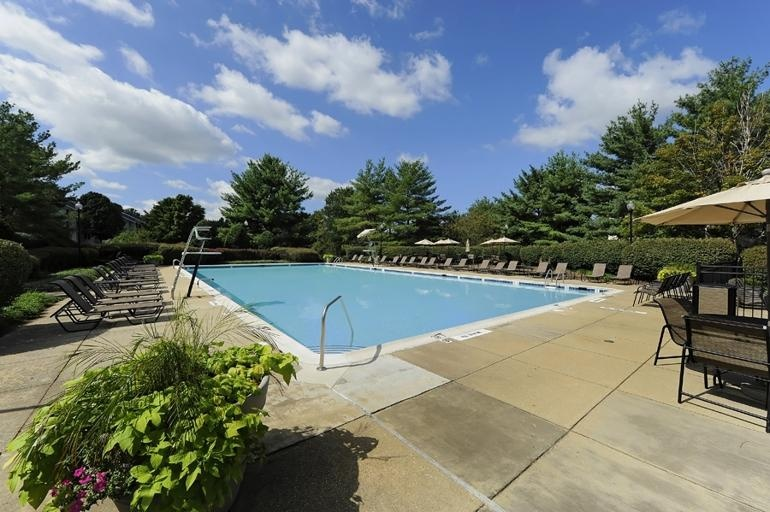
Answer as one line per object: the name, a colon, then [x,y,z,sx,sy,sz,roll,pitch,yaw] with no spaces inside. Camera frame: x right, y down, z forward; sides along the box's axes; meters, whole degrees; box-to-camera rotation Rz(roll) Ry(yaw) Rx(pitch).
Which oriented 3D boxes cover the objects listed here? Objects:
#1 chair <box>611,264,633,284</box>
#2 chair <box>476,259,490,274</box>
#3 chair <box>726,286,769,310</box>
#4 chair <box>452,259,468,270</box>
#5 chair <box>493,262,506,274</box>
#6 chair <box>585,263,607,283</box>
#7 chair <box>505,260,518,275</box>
chair: [12.186,0.862,15.119,0.580,1.063,1.604,10,15,36]
chair: [7.262,0.664,21.453,0.652,0.303,1.314,1,20,31]
chair: [8.778,0.978,7.171,0.829,0.335,0.992,0,-1,-33]
chair: [5.701,0.506,22.356,0.848,0.779,0.864,3,12,14]
chair: [7.741,0.687,19.987,0.453,0.811,0.802,-12,17,-42]
chair: [11.538,0.804,16.076,1.472,0.871,0.778,-8,4,-35]
chair: [8.357,0.637,19.426,0.575,1.057,0.429,-3,23,36]
